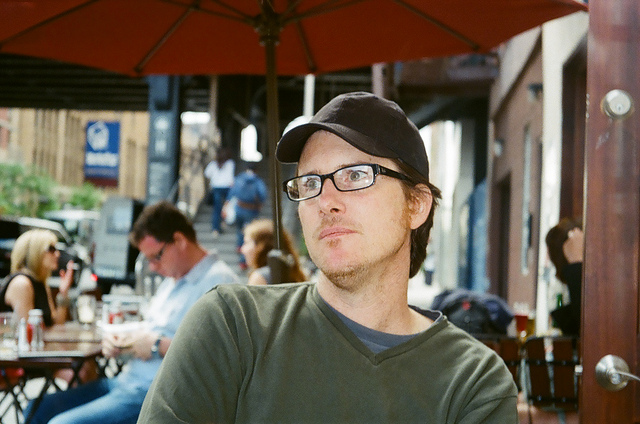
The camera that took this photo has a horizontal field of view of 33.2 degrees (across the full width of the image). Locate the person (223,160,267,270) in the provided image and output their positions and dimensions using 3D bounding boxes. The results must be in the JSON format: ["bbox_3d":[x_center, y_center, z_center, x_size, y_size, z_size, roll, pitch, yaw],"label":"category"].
[{"bbox_3d":[-1.224,-0.100,17.393,0.581,1.722,0.534,9,30,-4],"label":"person"}]

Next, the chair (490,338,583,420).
[{"bbox_3d":[1.837,1.233,8.693,0.660,0.952,0.602,-3,-5,39],"label":"chair"}]

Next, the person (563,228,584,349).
[{"bbox_3d":[1.962,0.585,8.326,0.132,0.894,0.387,-3,-8,10],"label":"person"}]
